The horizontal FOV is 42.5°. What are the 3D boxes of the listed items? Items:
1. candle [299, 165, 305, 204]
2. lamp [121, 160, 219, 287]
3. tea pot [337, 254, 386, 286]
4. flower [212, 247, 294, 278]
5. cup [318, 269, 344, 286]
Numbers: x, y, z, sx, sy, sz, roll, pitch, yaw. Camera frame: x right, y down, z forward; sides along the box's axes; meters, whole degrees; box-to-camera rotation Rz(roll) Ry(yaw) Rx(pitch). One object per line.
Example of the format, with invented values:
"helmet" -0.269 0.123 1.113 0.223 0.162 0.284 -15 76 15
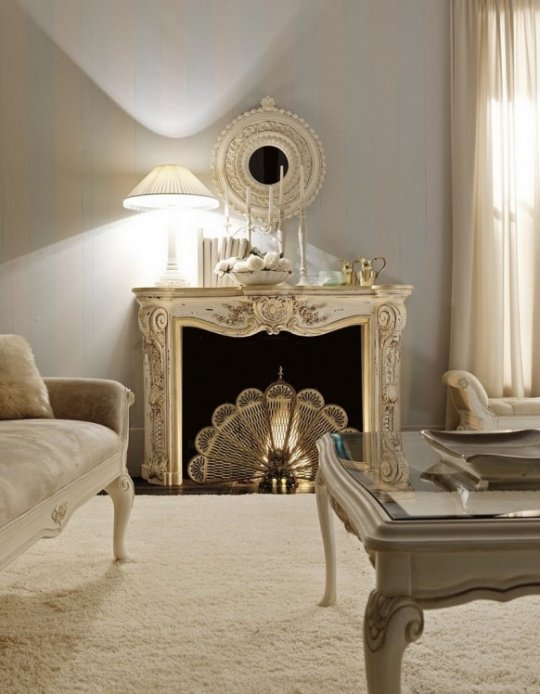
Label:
"candle" 0.166 -0.843 3.575 0.031 0.191 0.025 -1 5 -16
"lamp" -0.460 -0.544 3.388 0.577 0.677 0.583 0 2 1
"tea pot" 0.473 -0.377 3.437 0.251 0.215 0.153 0 1 -21
"flower" -0.075 -0.369 3.142 0.210 0.087 0.203 -2 -2 7
"cup" 0.290 -0.333 3.329 0.113 0.069 0.097 1 4 2
